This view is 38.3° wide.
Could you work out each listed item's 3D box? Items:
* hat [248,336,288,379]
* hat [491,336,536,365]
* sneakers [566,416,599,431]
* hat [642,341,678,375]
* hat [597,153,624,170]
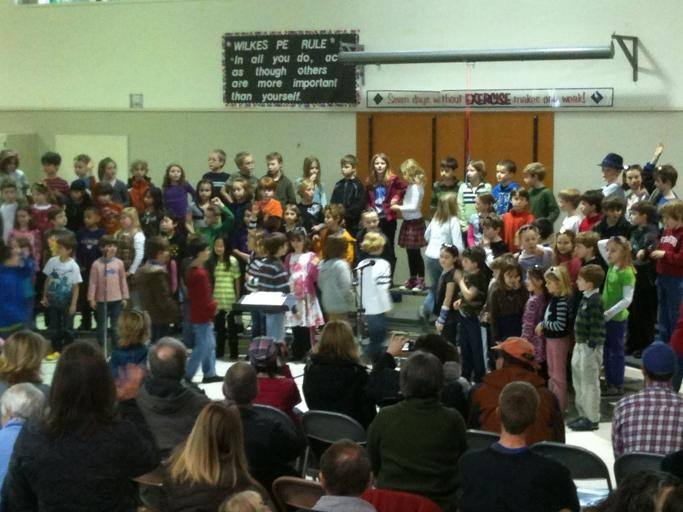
[{"bbox_3d":[-0.637,0.889,8.374,0.245,0.320,0.334,-4,21,8],"label":"hat"},{"bbox_3d":[1.487,0.844,8.488,0.309,0.178,0.221,25,5,10],"label":"hat"},{"bbox_3d":[2.454,1.716,10.042,0.246,0.109,0.144,4,1,1],"label":"sneakers"},{"bbox_3d":[2.576,0.851,7.998,0.197,0.162,0.289,-1,19,17],"label":"hat"},{"bbox_3d":[3.415,-1.185,12.385,0.251,0.120,0.308,12,8,27],"label":"hat"}]
